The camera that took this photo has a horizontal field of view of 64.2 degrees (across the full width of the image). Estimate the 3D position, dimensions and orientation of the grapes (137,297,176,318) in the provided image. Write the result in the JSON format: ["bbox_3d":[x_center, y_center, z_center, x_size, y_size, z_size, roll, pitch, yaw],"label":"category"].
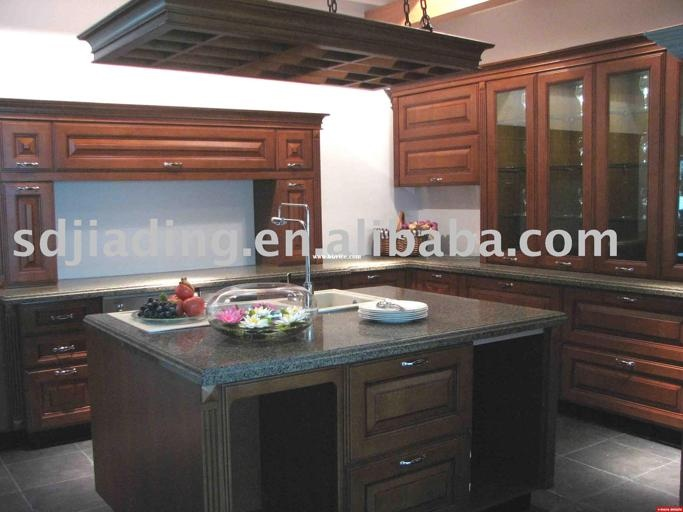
[{"bbox_3d":[-0.864,0.244,2.562,0.141,0.060,0.123,1,5,-1],"label":"grapes"}]

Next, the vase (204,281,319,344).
[{"bbox_3d":[-0.303,0.225,2.324,0.303,0.112,0.279,12,4,15],"label":"vase"}]

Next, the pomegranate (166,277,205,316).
[{"bbox_3d":[-0.838,0.217,2.924,0.181,0.205,0.141,-21,7,-24],"label":"pomegranate"}]
